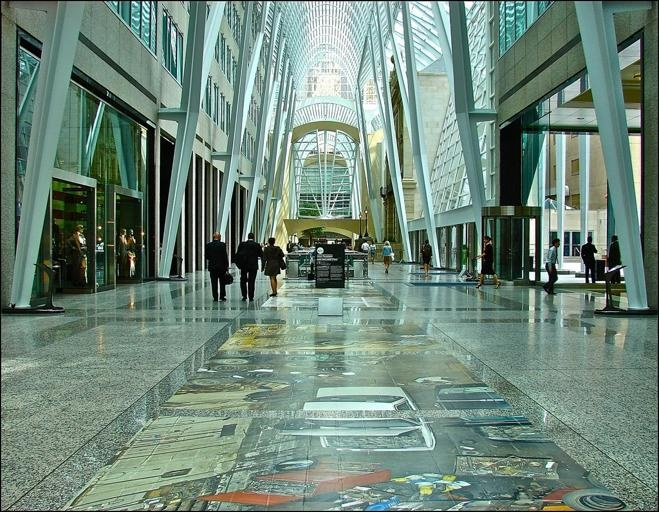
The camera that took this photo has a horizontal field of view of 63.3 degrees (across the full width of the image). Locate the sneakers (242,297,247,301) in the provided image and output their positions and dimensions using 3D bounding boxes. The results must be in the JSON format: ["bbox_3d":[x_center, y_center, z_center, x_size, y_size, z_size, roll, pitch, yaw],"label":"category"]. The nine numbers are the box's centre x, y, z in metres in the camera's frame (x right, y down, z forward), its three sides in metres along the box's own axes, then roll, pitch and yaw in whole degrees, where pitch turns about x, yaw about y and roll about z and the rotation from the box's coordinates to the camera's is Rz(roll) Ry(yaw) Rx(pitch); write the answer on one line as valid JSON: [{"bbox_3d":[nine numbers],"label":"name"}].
[{"bbox_3d":[-2.561,1.280,16.063,0.106,0.208,0.111,1,-4,-1],"label":"sneakers"}]

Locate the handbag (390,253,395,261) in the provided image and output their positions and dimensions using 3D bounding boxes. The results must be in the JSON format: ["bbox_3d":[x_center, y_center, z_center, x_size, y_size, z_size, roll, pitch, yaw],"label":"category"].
[{"bbox_3d":[5.340,0.094,45.342,0.231,0.815,0.788,0,-2,28],"label":"handbag"}]

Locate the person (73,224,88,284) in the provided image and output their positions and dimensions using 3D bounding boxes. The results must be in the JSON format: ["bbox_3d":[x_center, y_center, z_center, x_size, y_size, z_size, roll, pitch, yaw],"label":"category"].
[{"bbox_3d":[-8.036,0.028,17.234,0.383,1.963,0.783,-1,2,-24],"label":"person"}]

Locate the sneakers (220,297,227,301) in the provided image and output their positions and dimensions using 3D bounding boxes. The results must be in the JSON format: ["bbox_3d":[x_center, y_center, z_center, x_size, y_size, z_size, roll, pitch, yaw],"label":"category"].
[{"bbox_3d":[-3.189,1.291,16.013,0.150,0.105,0.081,4,-8,-28],"label":"sneakers"}]

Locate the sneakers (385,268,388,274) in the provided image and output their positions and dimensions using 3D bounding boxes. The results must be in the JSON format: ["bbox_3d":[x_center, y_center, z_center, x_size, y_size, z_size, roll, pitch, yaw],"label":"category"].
[{"bbox_3d":[3.337,0.851,31.118,0.236,0.282,0.233,-3,6,-33],"label":"sneakers"}]
